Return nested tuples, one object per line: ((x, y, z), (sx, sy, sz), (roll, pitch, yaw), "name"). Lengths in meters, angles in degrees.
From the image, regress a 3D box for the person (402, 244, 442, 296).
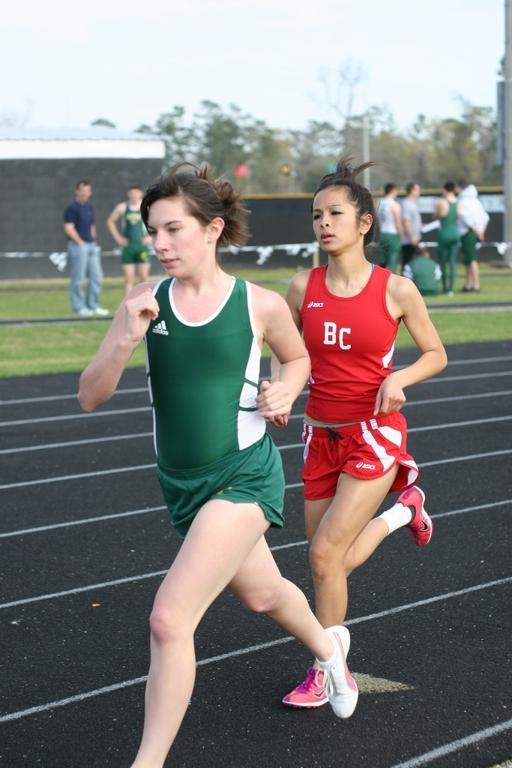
((3.208, -2.186, 13.727), (0.673, 0.920, 0.578), (-6, 20, 9), "person")

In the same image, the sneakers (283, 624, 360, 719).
((0.203, 0.817, 2.039), (0.122, 0.162, 0.365), (-16, -3, 24), "sneakers")

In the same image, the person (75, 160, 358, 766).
((-0.124, 0.210, 1.703), (0.383, 1.474, 0.756), (4, 6, 40), "person")
